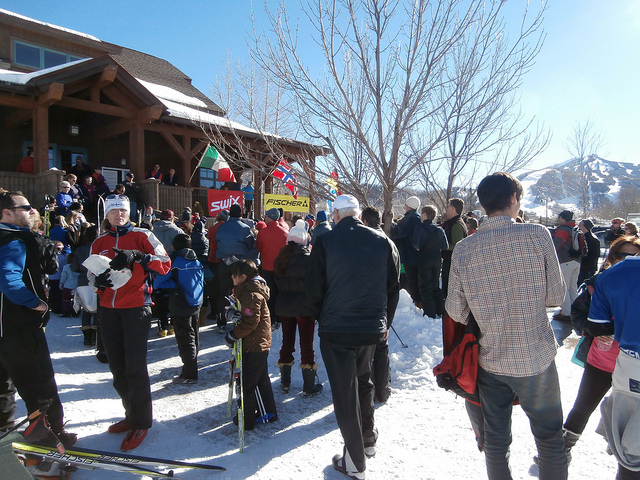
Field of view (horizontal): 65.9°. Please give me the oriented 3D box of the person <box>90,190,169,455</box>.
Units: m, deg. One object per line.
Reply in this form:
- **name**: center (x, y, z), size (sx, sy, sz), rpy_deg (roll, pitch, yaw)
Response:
- **person**: center (-2.126, 0.871, 5.572), size (0.753, 2.690, 1.145), rpy_deg (-4, 11, -22)

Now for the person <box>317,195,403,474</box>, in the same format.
- **person**: center (0.391, 0.957, 5.284), size (0.745, 2.780, 1.025), rpy_deg (5, 11, 22)

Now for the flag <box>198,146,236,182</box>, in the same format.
- **flag**: center (-3.005, -2.213, 14.719), size (1.237, 0.179, 1.526), rpy_deg (6, -35, -30)

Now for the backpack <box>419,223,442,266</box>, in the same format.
- **backpack**: center (2.028, 0.075, 9.127), size (0.369, 0.750, 0.182), rpy_deg (2, 10, 9)

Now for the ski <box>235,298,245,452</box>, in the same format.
- **ski**: center (-0.893, 1.574, 5.450), size (0.093, 1.334, 0.225), rpy_deg (3, -16, -20)

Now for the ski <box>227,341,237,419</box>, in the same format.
- **ski**: center (-1.088, 1.750, 6.067), size (0.147, 1.030, 0.149), rpy_deg (3, 14, 6)

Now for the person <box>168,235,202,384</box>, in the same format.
- **person**: center (-1.927, 0.955, 7.059), size (0.432, 1.967, 0.753), rpy_deg (-1, 10, -8)

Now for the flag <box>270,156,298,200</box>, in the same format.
- **flag**: center (-0.655, -1.404, 10.621), size (0.779, 0.873, 0.071), rpy_deg (-3, 44, -34)
